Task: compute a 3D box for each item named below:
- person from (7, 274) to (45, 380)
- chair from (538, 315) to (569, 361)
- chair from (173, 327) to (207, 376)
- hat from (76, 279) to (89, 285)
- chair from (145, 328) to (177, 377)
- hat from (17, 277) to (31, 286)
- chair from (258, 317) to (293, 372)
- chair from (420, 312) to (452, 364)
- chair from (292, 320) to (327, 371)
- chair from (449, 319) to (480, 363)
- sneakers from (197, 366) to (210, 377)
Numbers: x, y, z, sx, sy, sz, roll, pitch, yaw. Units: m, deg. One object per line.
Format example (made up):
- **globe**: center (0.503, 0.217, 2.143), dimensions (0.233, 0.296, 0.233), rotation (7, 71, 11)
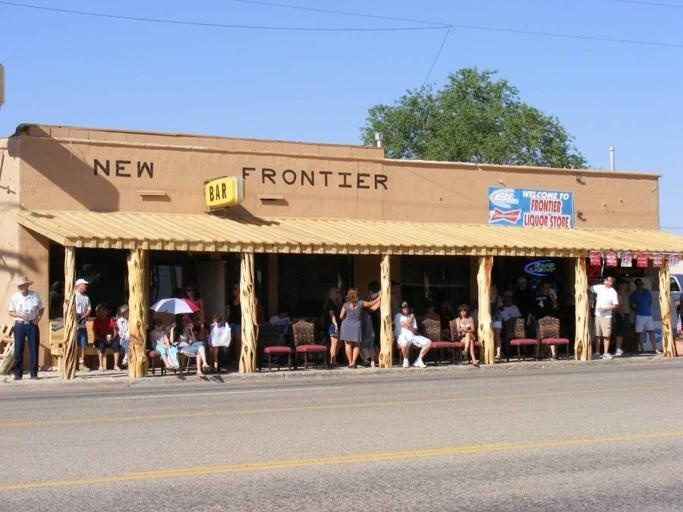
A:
- **person**: center (-7.064, 1.607, 23.011), dimensions (0.696, 2.309, 0.654), rotation (6, -12, -38)
- **chair**: center (5.774, 2.265, 28.277), dimensions (0.788, 1.137, 1.955), rotation (-3, -11, 11)
- **chair**: center (-3.536, 2.281, 24.343), dimensions (0.725, 1.295, 1.492), rotation (0, -10, -10)
- **hat**: center (-6.182, 0.621, 24.296), dimensions (0.273, 0.117, 0.195), rotation (-1, 1, 18)
- **chair**: center (-4.148, 2.157, 24.082), dimensions (0.983, 1.027, 0.538), rotation (-11, -13, 43)
- **hat**: center (-7.070, 0.566, 23.006), dimensions (0.290, 0.143, 0.347), rotation (-11, -8, 0)
- **chair**: center (-1.665, 2.248, 25.899), dimensions (0.712, 1.154, 0.847), rotation (-2, -4, -20)
- **chair**: center (2.505, 2.219, 27.059), dimensions (0.641, 1.205, 0.824), rotation (-4, -3, -11)
- **chair**: center (-0.822, 2.204, 25.760), dimensions (0.728, 1.185, 0.749), rotation (-1, 0, -39)
- **chair**: center (3.263, 2.062, 26.731), dimensions (0.484, 0.840, 1.372), rotation (-7, 23, 0)
- **sneakers**: center (-3.230, 2.706, 23.905), dimensions (0.141, 0.208, 0.484), rotation (0, -6, -21)
